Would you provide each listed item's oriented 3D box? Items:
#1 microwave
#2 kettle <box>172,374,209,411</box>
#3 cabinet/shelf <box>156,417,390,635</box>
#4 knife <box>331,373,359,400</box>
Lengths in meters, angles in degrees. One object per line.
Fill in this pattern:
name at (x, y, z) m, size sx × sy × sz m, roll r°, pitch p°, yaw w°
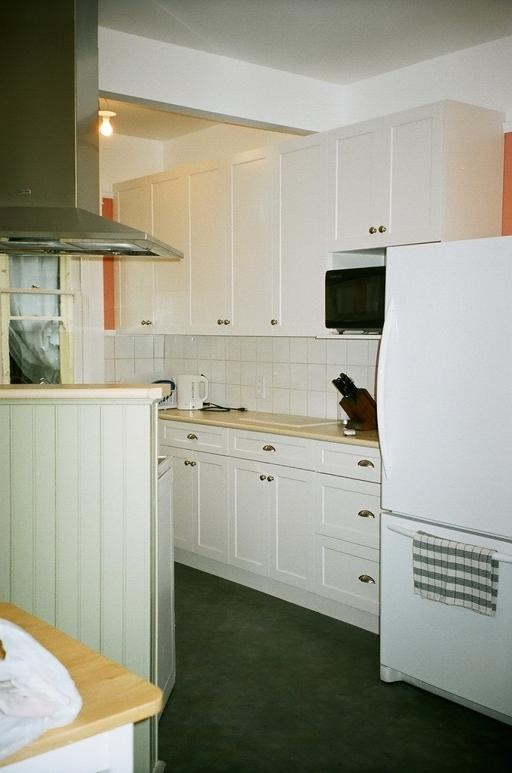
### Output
microwave at (0.460, -0.391, 2.974) m, size 0.181 × 0.295 × 0.341 m, roll -3°, pitch 7°, yaw -34°
kettle at (-0.430, 0.039, 4.358) m, size 0.207 × 0.230 × 0.297 m, roll 0°, pitch 1°, yaw -5°
cabinet/shelf at (0.117, 0.691, 3.148) m, size 0.290 × 0.553 × 0.971 m, roll 3°, pitch -1°, yaw -45°
knife at (0.435, 0.006, 3.185) m, size 0.047 × 0.098 × 0.143 m, roll -15°, pitch -31°, yaw 28°
